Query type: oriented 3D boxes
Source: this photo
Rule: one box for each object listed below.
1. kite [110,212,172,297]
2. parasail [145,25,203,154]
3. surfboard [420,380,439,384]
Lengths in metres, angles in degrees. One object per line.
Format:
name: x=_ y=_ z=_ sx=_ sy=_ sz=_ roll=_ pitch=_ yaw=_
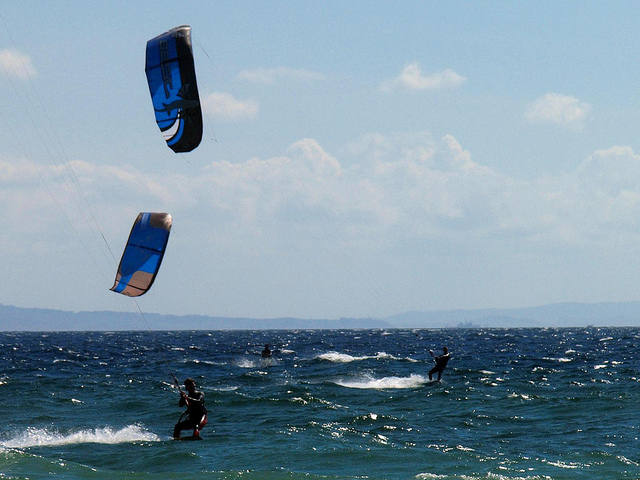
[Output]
kite: x=-8.040 y=0.400 z=48.090 sx=1.708 sy=4.836 sz=1.594 roll=23 pitch=24 yaw=5
parasail: x=-6.710 y=-6.859 z=49.294 sx=2.376 sy=6.287 sz=1.588 roll=-15 pitch=28 yaw=-18
surfboard: x=6.564 y=8.376 z=61.250 sx=1.427 sy=0.154 sz=0.716 roll=2 pitch=-2 yaw=-44
